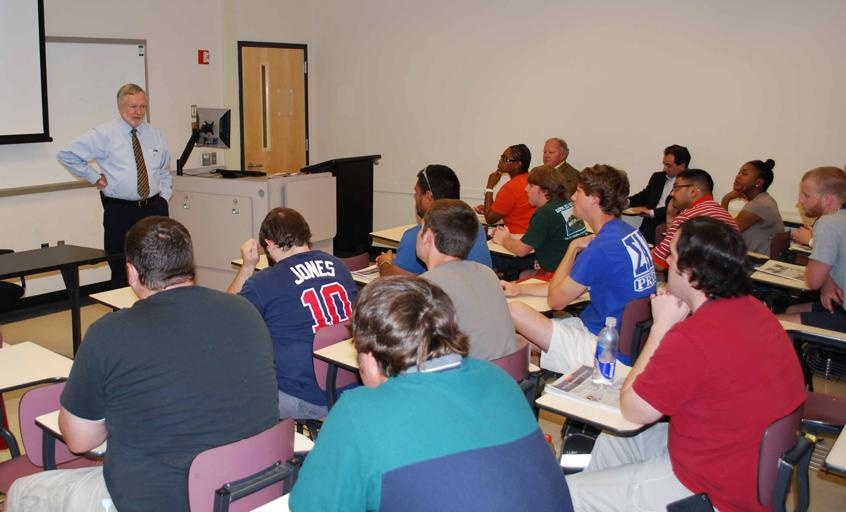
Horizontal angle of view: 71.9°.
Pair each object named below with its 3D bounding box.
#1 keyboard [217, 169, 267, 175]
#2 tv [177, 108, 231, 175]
[{"bbox_3d":[-1.979,-0.902,6.330,0.455,0.055,0.606,-5,14,-25],"label":"keyboard"},{"bbox_3d":[-2.486,-1.261,6.515,0.517,0.825,0.694,-9,19,-37],"label":"tv"}]
